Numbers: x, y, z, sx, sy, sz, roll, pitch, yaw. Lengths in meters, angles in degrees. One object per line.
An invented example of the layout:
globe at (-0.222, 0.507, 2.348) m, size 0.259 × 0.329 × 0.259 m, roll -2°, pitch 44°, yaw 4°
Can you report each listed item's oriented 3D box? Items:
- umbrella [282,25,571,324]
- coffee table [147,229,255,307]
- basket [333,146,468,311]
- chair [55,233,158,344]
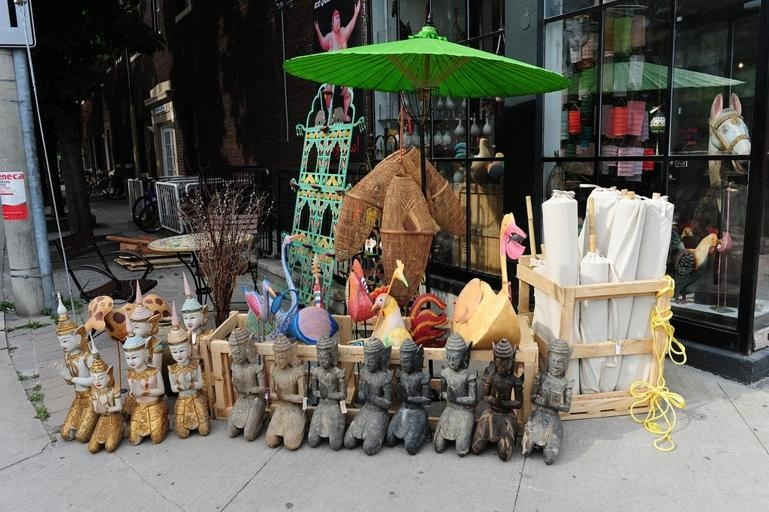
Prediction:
umbrella at (0.411, -1.280, 6.450) m, size 2.465 × 2.688 × 2.467 m, roll -7°, pitch 26°, yaw -20°
coffee table at (-2.386, 0.183, 7.159) m, size 0.813 × 0.935 × 0.833 m, roll -4°, pitch 23°, yaw -10°
basket at (0.196, -0.430, 6.125) m, size 1.510 × 1.603 × 1.583 m, roll 7°, pitch 47°, yaw 12°
chair at (-3.764, 0.372, 7.508) m, size 1.032 × 1.369 × 0.986 m, roll -3°, pitch 17°, yaw -13°
